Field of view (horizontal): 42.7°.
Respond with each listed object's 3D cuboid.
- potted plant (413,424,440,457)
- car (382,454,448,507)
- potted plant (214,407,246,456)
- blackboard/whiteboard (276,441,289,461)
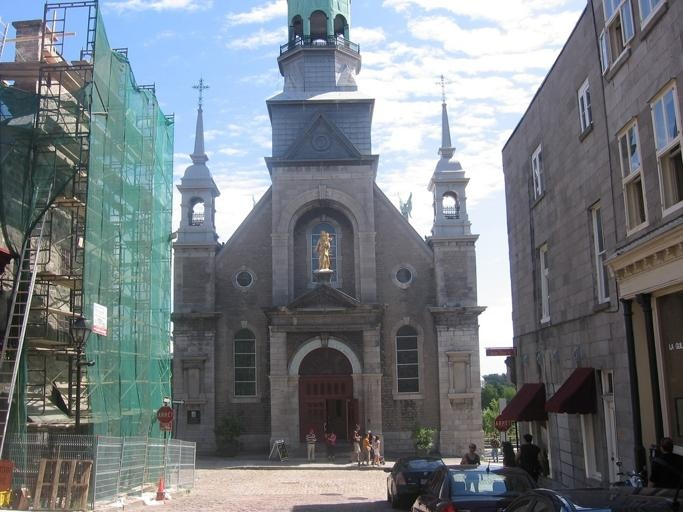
[{"bbox_3d":[4.415,9.520,45.087,1.301,1.459,0.960,-1,-16,-4],"label":"potted plant"},{"bbox_3d":[2.118,6.929,26.953,1.245,0.986,2.861,-1,-16,-1],"label":"car"},{"bbox_3d":[-5.772,9.204,45.283,1.380,2.386,0.833,0,-16,-9],"label":"potted plant"},{"bbox_3d":[-2.817,9.623,43.165,0.523,1.071,1.106,-1,-17,-4],"label":"blackboard/whiteboard"}]
